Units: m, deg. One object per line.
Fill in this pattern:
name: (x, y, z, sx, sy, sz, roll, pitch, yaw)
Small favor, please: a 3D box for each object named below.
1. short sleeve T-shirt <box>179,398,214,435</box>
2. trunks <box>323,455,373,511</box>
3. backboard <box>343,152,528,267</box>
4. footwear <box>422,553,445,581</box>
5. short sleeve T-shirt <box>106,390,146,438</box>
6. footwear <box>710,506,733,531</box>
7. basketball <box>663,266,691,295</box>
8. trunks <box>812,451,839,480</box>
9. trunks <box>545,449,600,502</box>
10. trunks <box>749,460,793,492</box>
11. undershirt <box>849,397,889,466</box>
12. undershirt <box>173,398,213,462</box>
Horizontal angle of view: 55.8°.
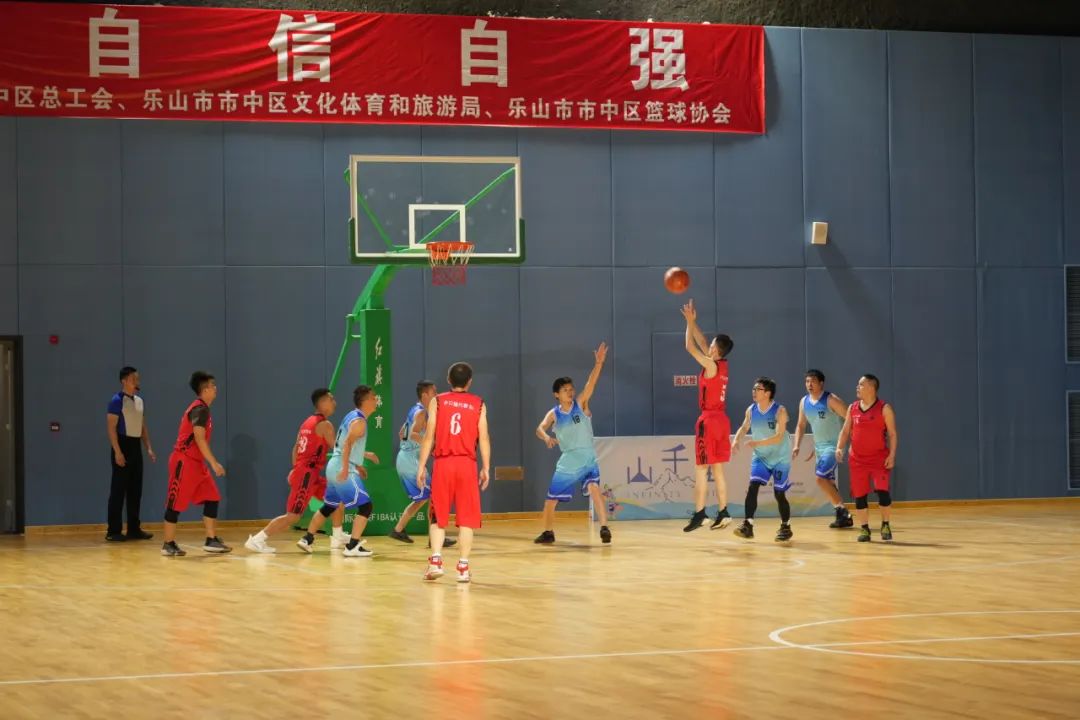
short sleeve T-shirt: (-4.123, 0.675, 12.366, 0.371, 0.394, 0.237, -4, -4, 44)
trunks: (-2.322, 1.473, 12.343, 0.415, 0.662, 0.431, 1, -4, -39)
backboard: (-1.504, -2.349, 14.840, 3.049, 1.950, 1.714, -1, -8, -6)
footwear: (-1.103, 2.151, 10.683, 0.149, 0.192, 0.405, 1, -5, -7)
short sleeve T-shirt: (-5.768, 0.774, 14.289, 0.379, 0.719, 0.679, -3, -2, 23)
footwear: (2.254, 2.053, 13.048, 0.184, 0.312, 0.458, 6, -18, -24)
basketball: (1.895, -1.119, 14.077, 0.283, 0.337, 0.475, -2, -3, 13)
trunks: (3.909, 1.423, 13.995, 0.256, 0.423, 0.446, -2, -3, 14)
trunks: (0.445, 1.537, 13.737, 0.929, 0.869, 0.399, 2, -8, -16)
trunks: (2.997, 1.482, 13.415, 0.656, 0.530, 0.370, 2, -5, -16)
undershirt: (4.167, 0.907, 12.905, 0.474, 0.789, 0.420, 1, 1, 41)
undershirt: (-4.328, 0.894, 12.816, 0.456, 0.860, 0.749, 6, 4, -11)
